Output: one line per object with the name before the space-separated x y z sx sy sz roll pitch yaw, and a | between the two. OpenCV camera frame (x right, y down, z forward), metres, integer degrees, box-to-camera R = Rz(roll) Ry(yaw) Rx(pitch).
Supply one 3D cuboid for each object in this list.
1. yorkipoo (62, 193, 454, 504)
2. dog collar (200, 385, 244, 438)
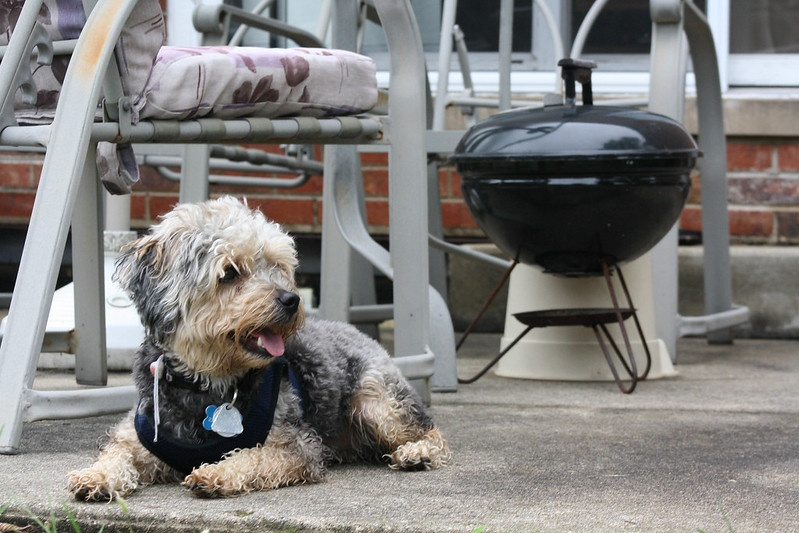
yorkipoo | -0.425 0.337 5.502 0.920 0.824 1.231 -10 -15 37
dog collar | -0.577 0.491 5.160 0.147 0.191 0.104 15 -17 -20
